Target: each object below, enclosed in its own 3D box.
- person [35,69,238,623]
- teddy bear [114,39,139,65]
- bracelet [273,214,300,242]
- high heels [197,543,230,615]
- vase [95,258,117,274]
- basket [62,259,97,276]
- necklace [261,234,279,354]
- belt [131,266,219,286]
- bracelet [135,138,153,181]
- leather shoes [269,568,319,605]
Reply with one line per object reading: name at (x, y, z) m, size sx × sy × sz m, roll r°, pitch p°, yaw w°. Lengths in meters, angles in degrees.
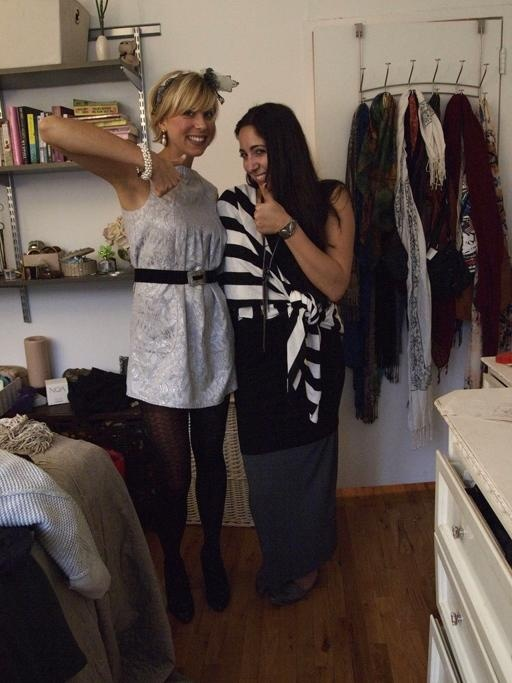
person at (-0.246, 0.077, 1.535) m, size 0.328 × 1.598 × 0.562 m, roll 0°, pitch 9°, yaw 10°
teddy bear at (-0.491, -1.106, 2.147) m, size 0.092 × 0.134 × 0.031 m, roll -1°, pitch 2°, yaw -5°
bracelet at (0.081, -0.312, 1.554) m, size 0.057 × 0.031 × 0.047 m, roll -32°, pitch 22°, yaw 23°
high heels at (-0.130, 0.741, 1.747) m, size 0.078 × 0.226 × 0.089 m, roll -10°, pitch 5°, yaw 0°
vase at (-0.620, -0.311, 2.336) m, size 0.068 × 0.059 × 0.080 m, roll 1°, pitch 10°, yaw -8°
basket at (-0.717, -0.303, 2.297) m, size 0.087 × 0.038 × 0.089 m, roll -2°, pitch 11°, yaw 1°
necklace at (0.033, -0.137, 1.643) m, size 0.057 × 0.339 × 0.029 m, roll -10°, pitch 12°, yaw -41°
belt at (-0.203, -0.177, 1.525) m, size 0.242 × 0.055 × 0.136 m, roll -5°, pitch 11°, yaw -17°
bracelet at (-0.258, -0.427, 1.290) m, size 0.019 × 0.070 × 0.052 m, roll -3°, pitch 7°, yaw 8°
leather shoes at (0.122, 0.789, 1.827) m, size 0.064 × 0.056 × 0.136 m, roll 11°, pitch 6°, yaw 40°
